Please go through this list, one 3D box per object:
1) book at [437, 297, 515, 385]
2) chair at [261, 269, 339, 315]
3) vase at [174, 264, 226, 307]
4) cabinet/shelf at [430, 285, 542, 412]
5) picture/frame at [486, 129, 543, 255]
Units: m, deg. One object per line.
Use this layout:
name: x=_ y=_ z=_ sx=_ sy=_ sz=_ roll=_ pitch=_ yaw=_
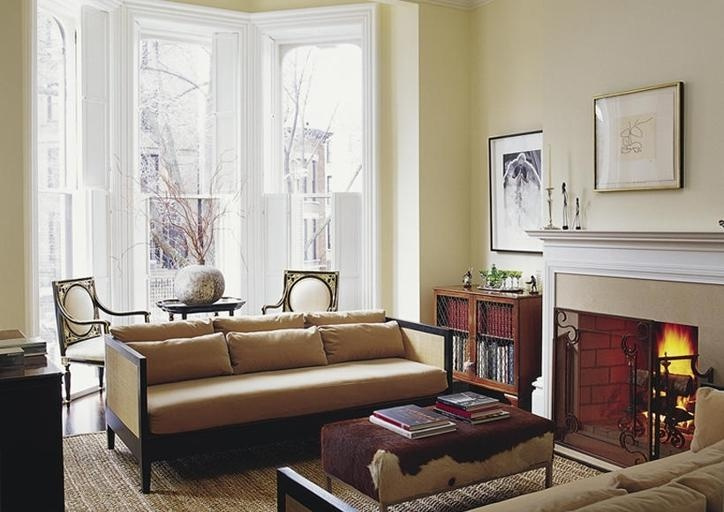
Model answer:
book: x=1.138 y=0.846 z=5.221 sx=0.348 sy=0.798 sz=0.902 roll=2 pitch=-3 yaw=-29
chair: x=-0.633 y=0.381 z=6.070 sx=0.645 sy=0.907 sz=0.528 roll=0 pitch=-4 yaw=8
vase: x=-1.659 y=0.284 z=5.458 sx=0.410 sy=0.370 sz=0.421 roll=1 pitch=-1 yaw=20
cabinet/shelf: x=1.271 y=0.901 z=5.564 sx=0.455 sy=1.140 sz=1.138 roll=-2 pitch=2 yaw=-36
picture/frame: x=1.621 y=-0.664 z=5.697 sx=0.124 sy=1.278 sz=0.738 roll=-6 pitch=6 yaw=-33
